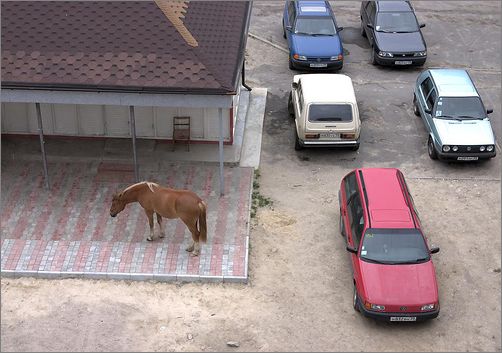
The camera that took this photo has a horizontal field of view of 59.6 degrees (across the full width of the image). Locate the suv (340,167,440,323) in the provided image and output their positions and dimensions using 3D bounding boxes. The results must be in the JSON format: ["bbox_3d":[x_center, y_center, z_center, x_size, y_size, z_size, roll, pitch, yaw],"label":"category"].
[{"bbox_3d":[3.814,1.642,12.432,2.207,1.758,5.099,-3,36,5],"label":"suv"}]

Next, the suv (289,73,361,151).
[{"bbox_3d":[3.073,-2.969,18.291,2.998,2.277,4.957,0,35,3],"label":"suv"}]

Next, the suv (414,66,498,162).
[{"bbox_3d":[7.928,-2.223,17.532,2.146,1.768,4.517,-1,46,6],"label":"suv"}]
